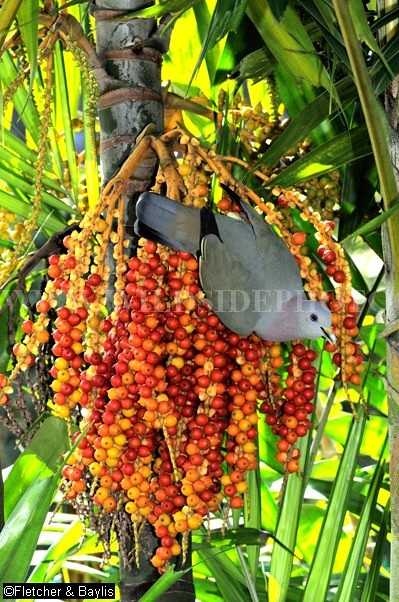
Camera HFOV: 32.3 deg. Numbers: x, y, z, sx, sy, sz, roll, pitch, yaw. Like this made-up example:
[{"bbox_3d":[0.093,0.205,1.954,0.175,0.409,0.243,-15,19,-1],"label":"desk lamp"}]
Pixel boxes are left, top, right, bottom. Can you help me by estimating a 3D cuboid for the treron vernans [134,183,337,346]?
[{"bbox_3d":[0.045,-0.030,0.704,0.109,0.111,0.223,-41,85,-5],"label":"treron vernans"}]
